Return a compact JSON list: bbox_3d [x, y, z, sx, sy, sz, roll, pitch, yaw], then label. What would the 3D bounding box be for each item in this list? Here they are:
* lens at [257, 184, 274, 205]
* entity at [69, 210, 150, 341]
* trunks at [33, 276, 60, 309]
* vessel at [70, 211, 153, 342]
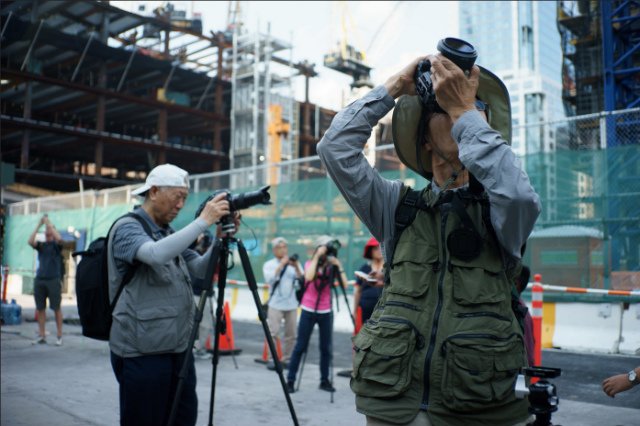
[{"bbox_3d":[-1.307,-0.432,20.919,0.417,0.434,0.301,-4,3,40],"label":"lens"},{"bbox_3d":[-5.067,1.628,22.230,2.422,4.118,2.552,4,-7,-14],"label":"entity"},{"bbox_3d":[-8.160,2.257,26.577,0.794,1.107,0.627,4,16,-6],"label":"trunks"},{"bbox_3d":[-5.076,1.755,22.278,2.424,4.128,2.583,4,-7,-14],"label":"vessel"}]
